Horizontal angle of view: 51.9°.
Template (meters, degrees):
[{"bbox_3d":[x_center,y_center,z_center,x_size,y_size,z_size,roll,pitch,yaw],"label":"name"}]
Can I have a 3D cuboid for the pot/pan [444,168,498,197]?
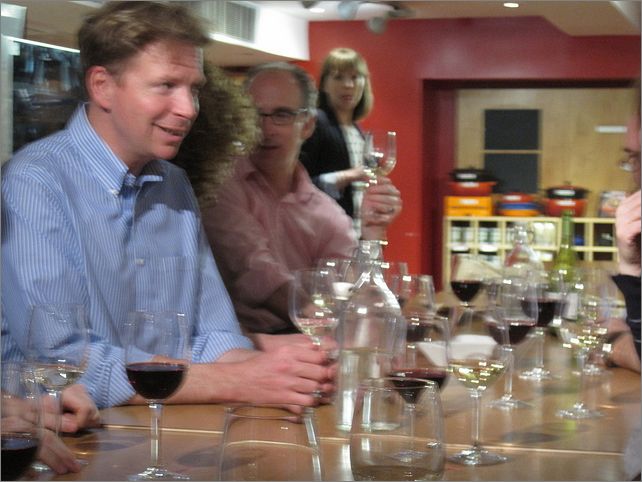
[{"bbox_3d":[1.422,-0.535,6.254,0.374,0.181,0.310,1,1,5],"label":"pot/pan"}]

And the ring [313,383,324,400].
[{"bbox_3d":[-0.003,0.321,1.385,0.026,0.022,0.024,2,-18,1],"label":"ring"}]

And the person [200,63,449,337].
[{"bbox_3d":[0.102,-0.113,3.056,0.883,1.594,0.989,2,-5,-38],"label":"person"}]

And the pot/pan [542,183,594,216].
[{"bbox_3d":[2.269,-0.372,6.216,0.415,0.297,0.414,-1,2,-37],"label":"pot/pan"}]
